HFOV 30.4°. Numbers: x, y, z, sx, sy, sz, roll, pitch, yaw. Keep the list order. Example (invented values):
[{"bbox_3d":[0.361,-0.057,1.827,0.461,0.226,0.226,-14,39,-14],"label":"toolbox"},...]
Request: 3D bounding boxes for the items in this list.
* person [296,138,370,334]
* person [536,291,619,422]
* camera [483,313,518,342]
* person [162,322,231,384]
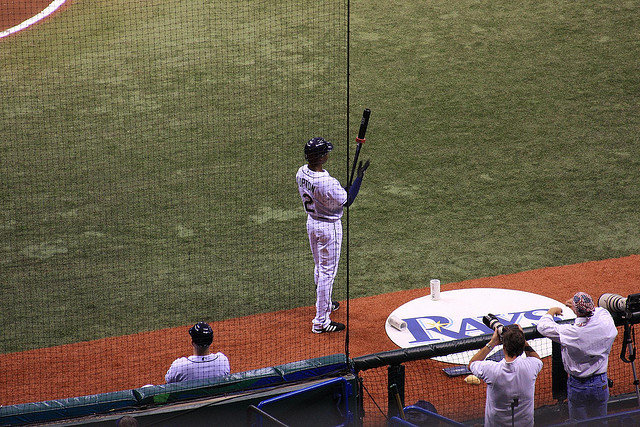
[{"bbox_3d":[0.166,0.391,19.893,1.005,3.261,1.017,-2,19,19],"label":"person"},{"bbox_3d":[4.060,2.210,18.283,1.113,1.934,0.697,-4,18,11],"label":"person"},{"bbox_3d":[2.757,1.724,18.031,0.347,0.162,0.494,-22,31,-16],"label":"camera"},{"bbox_3d":[-1.998,2.275,18.913,1.032,1.305,0.714,-3,49,-15],"label":"person"}]
